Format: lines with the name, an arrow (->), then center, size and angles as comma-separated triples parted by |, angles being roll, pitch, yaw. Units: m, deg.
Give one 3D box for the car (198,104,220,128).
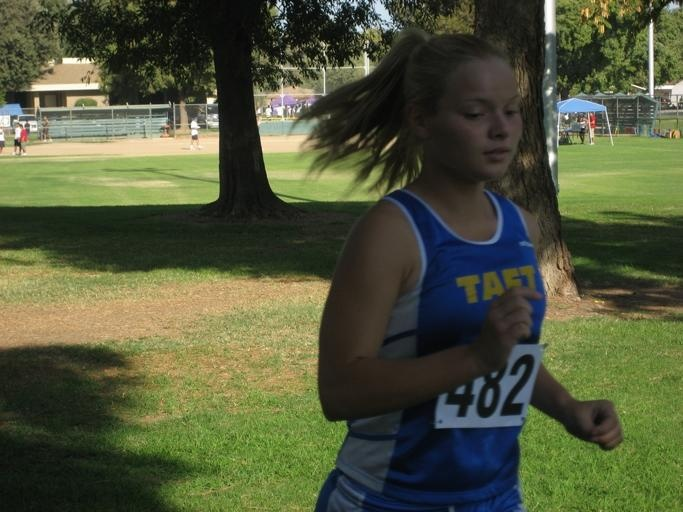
car -> -12.397, -13.115, 72.425 | 1.479, 2.258, 5.240 | 0, 10, 1
